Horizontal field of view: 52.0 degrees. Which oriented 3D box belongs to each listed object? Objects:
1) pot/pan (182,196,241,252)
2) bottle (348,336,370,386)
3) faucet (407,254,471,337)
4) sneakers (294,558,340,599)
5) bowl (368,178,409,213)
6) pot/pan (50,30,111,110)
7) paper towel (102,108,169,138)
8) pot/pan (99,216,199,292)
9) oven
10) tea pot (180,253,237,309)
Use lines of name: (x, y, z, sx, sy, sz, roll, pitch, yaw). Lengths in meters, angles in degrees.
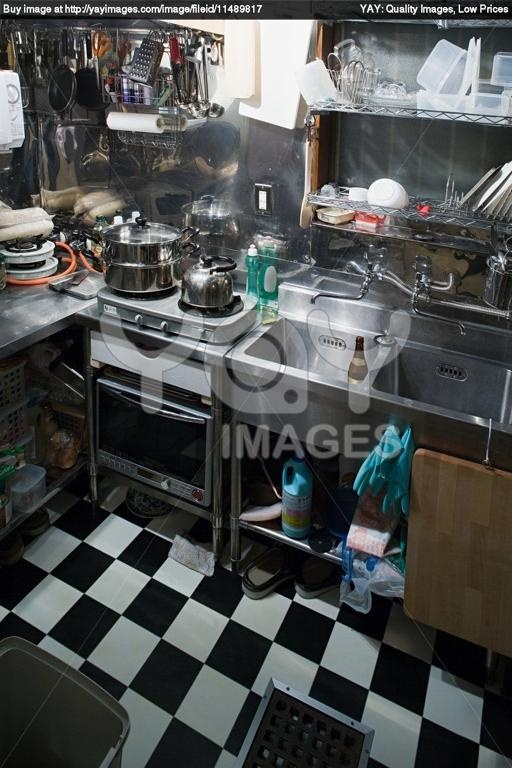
pot/pan: (-0.136, -0.573, 1.894, 0.172, 0.206, 0.180, 24, 44, 27)
bottle: (0.310, -0.080, 1.573, 0.059, 0.135, 0.124, 7, 14, 13)
faucet: (0.517, -0.247, 1.471, 0.158, 0.204, 0.091, 10, 14, 23)
sneakers: (0.191, 0.597, 1.627, 0.061, 0.069, 0.167, 11, 25, 28)
bowl: (0.347, -0.480, 1.375, 0.081, 0.092, 0.082, 10, 18, -3)
pot/pan: (-0.596, -1.084, 1.810, 0.169, 0.281, 0.039, 16, 35, 24)
paper towel: (-0.393, -0.864, 1.721, 0.227, 0.076, 0.071, 14, 16, 30)
pot/pan: (-0.343, -0.389, 1.718, 0.303, 0.213, 0.235, 7, 28, 8)
oven: (-0.311, 0.155, 1.806, 0.418, 0.352, 0.309, 14, 21, 13)
tea pot: (-0.147, -0.299, 1.613, 0.154, 0.127, 0.173, 9, 37, 11)
